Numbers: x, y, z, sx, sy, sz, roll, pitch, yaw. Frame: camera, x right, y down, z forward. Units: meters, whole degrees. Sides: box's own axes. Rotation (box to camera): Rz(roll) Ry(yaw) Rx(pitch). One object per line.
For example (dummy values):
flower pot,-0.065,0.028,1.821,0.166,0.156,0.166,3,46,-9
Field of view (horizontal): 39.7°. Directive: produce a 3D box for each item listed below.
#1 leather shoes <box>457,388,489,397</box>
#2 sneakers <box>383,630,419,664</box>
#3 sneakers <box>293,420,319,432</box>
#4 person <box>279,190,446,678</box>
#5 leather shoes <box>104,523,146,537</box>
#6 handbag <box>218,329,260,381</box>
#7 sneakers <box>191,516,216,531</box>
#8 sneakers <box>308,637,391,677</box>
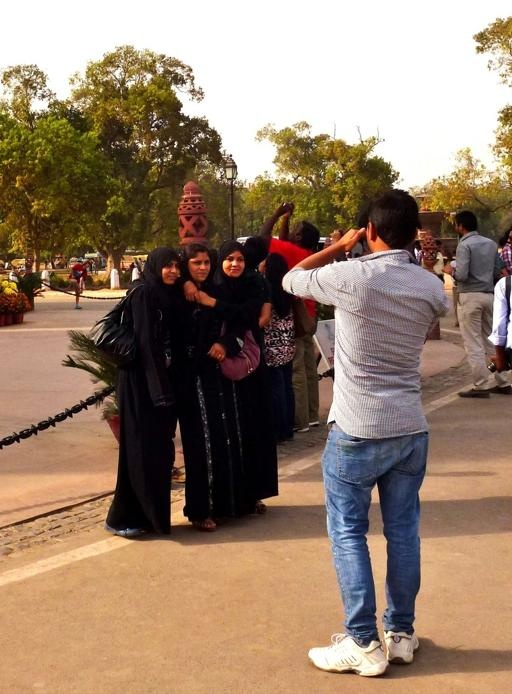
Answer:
leather shoes,2.620,0.551,8.554,0.347,0.107,0.121,4,3,18
sneakers,0.528,1.101,2.634,0.072,0.076,0.181,0,5,13
sneakers,0.526,0.808,7.198,0.087,0.093,0.251,-5,-8,33
person,0.396,0.318,2.514,0.552,1.715,0.344,-1,2,12
leather shoes,-0.768,1.101,4.263,0.252,0.088,0.074,0,33,18
handbag,-0.116,0.053,4.371,0.131,0.251,0.251,-10,27,50
sneakers,-0.302,1.066,4.309,0.166,0.056,0.064,6,7,31
sneakers,0.317,1.104,2.565,0.327,0.129,0.116,-10,-10,31
